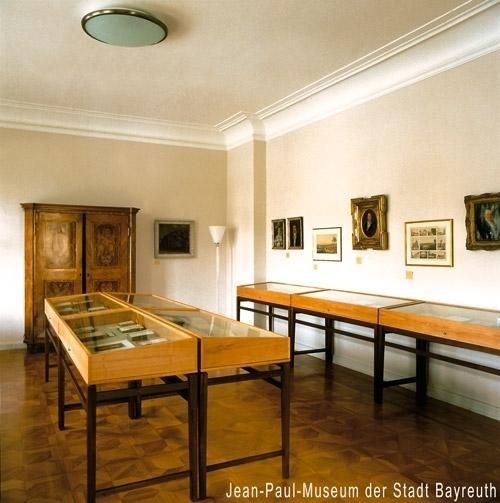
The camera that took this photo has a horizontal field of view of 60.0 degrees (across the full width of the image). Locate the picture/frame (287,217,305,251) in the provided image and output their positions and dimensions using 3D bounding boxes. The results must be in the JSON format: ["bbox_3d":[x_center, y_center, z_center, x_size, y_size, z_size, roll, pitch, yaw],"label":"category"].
[{"bbox_3d":[0.869,-0.338,8.304,0.028,0.631,0.563,2,7,38],"label":"picture/frame"}]

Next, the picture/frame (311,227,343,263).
[{"bbox_3d":[1.337,-0.118,7.479,0.744,0.577,0.020,-2,2,-36],"label":"picture/frame"}]

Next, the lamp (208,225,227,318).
[{"bbox_3d":[-0.749,0.425,9.940,0.347,2.064,0.808,0,-1,-2],"label":"lamp"}]

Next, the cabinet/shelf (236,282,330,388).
[{"bbox_3d":[0.666,1.120,7.732,1.176,1.465,2.058,-3,3,-31],"label":"cabinet/shelf"}]

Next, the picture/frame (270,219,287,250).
[{"bbox_3d":[0.601,-0.337,8.838,0.076,0.690,0.632,-1,3,-26],"label":"picture/frame"}]

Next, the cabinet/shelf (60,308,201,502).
[{"bbox_3d":[-1.042,1.186,3.558,0.809,1.244,1.406,1,-1,-30],"label":"cabinet/shelf"}]

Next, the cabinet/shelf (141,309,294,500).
[{"bbox_3d":[-0.307,1.374,3.731,0.407,0.689,1.315,-2,3,-24],"label":"cabinet/shelf"}]

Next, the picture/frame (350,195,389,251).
[{"bbox_3d":[1.825,-0.426,6.506,0.114,0.939,0.862,2,-3,-29],"label":"picture/frame"}]

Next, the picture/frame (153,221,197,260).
[{"bbox_3d":[-1.720,-0.239,9.676,0.915,0.814,0.099,-1,0,-29],"label":"picture/frame"}]
